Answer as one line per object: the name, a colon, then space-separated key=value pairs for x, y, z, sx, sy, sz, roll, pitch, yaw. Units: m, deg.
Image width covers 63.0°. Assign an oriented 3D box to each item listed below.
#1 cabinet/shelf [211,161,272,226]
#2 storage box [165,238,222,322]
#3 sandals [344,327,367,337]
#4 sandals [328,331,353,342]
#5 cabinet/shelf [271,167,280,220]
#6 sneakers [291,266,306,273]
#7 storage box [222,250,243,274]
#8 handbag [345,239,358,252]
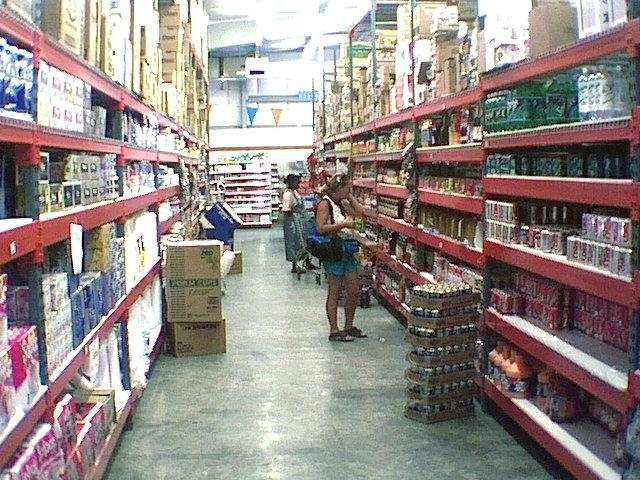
cabinet/shelf: x=-3.103 y=-1.684 z=20.321 sx=2.394 sy=2.642 sz=0.825 roll=1 pitch=-17 yaw=-12
storage box: x=-1.333 y=0.454 z=5.481 sx=0.704 sy=1.082 sz=0.559 roll=-1 pitch=5 yaw=0
sandals: x=0.415 y=1.088 z=6.173 sx=0.309 sy=0.136 sz=0.109 roll=0 pitch=2 yaw=-8
sandals: x=0.231 y=1.116 z=6.051 sx=0.265 sy=0.117 sz=0.112 roll=0 pitch=-2 yaw=-4
cabinet/shelf: x=-1.789 y=-1.870 z=21.184 sx=0.417 sy=2.275 sz=0.982 roll=-1 pitch=5 yaw=-7
sneakers: x=-0.423 y=0.585 z=10.104 sx=0.278 sy=0.137 sz=0.126 roll=-1 pitch=2 yaw=-2
storage box: x=-1.743 y=0.422 z=10.287 sx=0.418 sy=0.453 sz=0.328 roll=-1 pitch=6 yaw=-11
handbag: x=0.356 y=0.070 z=5.905 sx=0.144 sy=0.139 sz=0.121 roll=-3 pitch=4 yaw=3
